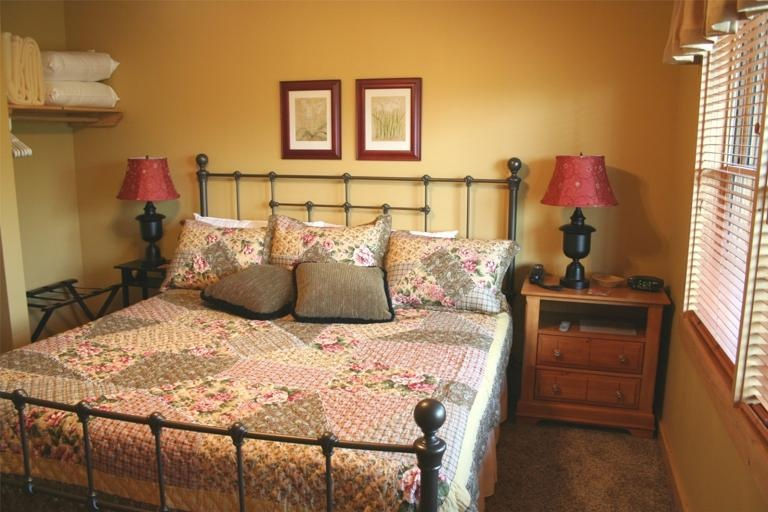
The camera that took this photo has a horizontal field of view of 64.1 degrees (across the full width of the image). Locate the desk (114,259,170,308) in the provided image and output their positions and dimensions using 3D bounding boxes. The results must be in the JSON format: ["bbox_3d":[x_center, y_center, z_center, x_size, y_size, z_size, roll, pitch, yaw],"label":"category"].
[{"bbox_3d":[-1.696,0.117,4.575,0.440,0.393,0.454,-2,16,-14],"label":"desk"}]

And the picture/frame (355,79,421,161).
[{"bbox_3d":[0.051,-0.939,4.127,0.644,0.636,0.055,1,7,10],"label":"picture/frame"}]

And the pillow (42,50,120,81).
[{"bbox_3d":[-2.039,-1.297,4.180,0.369,0.204,0.114,-13,-3,-19],"label":"pillow"}]

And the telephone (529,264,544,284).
[{"bbox_3d":[0.965,0.110,3.872,0.079,0.060,0.142,4,20,15],"label":"telephone"}]

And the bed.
[{"bbox_3d":[-0.180,0.653,3.556,2.481,1.430,2.206,3,21,10],"label":"bed"}]

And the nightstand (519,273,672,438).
[{"bbox_3d":[1.358,0.649,3.907,0.889,0.764,0.586,2,1,26],"label":"nightstand"}]

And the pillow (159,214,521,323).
[{"bbox_3d":[-0.245,0.008,3.861,2.105,0.525,0.350,3,11,10],"label":"pillow"}]

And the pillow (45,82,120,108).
[{"bbox_3d":[-2.049,-1.109,4.214,0.096,0.180,0.477,8,11,29],"label":"pillow"}]

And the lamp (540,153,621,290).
[{"bbox_3d":[1.180,-0.215,3.780,0.428,0.813,0.379,5,11,13],"label":"lamp"}]

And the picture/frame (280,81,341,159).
[{"bbox_3d":[-0.480,-0.964,4.245,0.599,0.589,0.072,3,13,12],"label":"picture/frame"}]
